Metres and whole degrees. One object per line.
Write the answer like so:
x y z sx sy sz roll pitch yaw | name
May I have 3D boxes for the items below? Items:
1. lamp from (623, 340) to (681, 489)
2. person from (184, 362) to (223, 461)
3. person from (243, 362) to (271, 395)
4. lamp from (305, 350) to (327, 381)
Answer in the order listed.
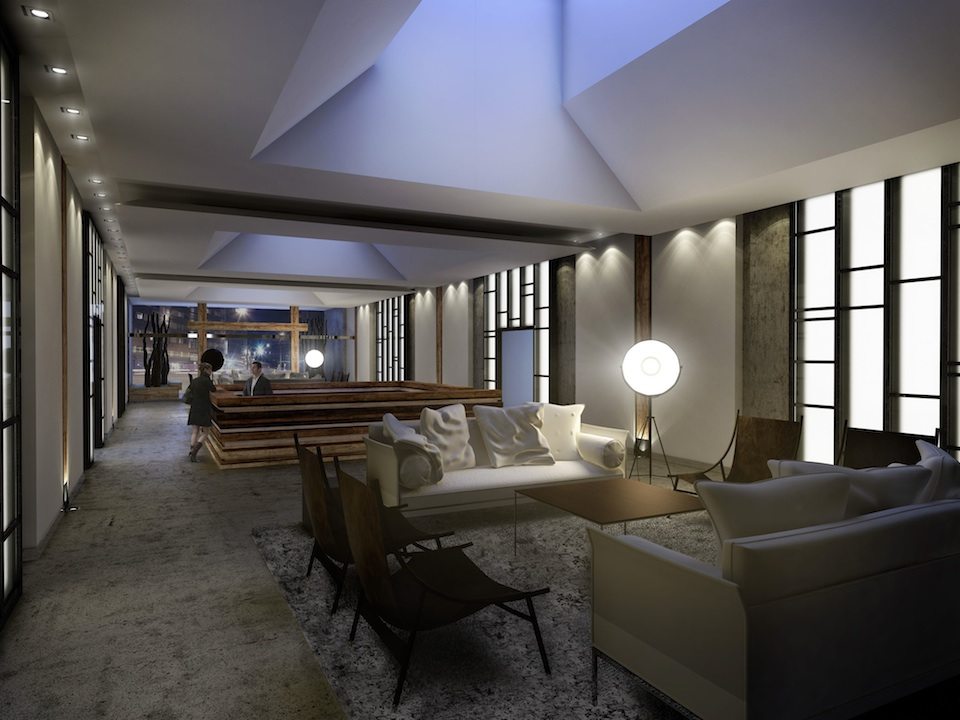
1.950 0.659 6.938 0.685 1.833 0.480 4 12 27 | lamp
-4.030 0.710 8.580 0.371 1.381 1.494 -2 5 -26 | person
-3.328 0.280 8.944 0.299 0.525 0.748 -2 5 -23 | person
-5.035 0.174 18.152 0.631 1.187 1.031 -5 -9 -14 | lamp
